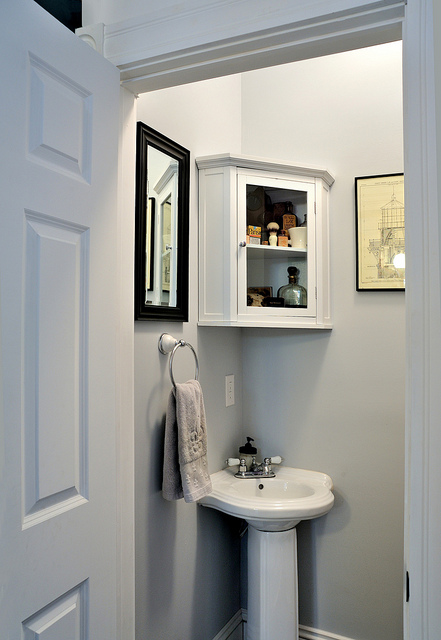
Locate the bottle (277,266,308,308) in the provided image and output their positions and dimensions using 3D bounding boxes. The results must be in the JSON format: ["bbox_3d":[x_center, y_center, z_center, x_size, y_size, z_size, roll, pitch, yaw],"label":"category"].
[{"bbox_3d":[0.253,-0.108,1.826,0.102,0.206,0.120,0,-1,3],"label":"bottle"}]

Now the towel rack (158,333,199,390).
[{"bbox_3d":[-0.133,0.127,1.562,0.055,0.217,0.136,-5,-3,30],"label":"towel rack"}]

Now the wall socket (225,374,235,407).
[{"bbox_3d":[0.034,0.276,2.032,0.010,0.159,0.115,1,0,20],"label":"wall socket"}]
